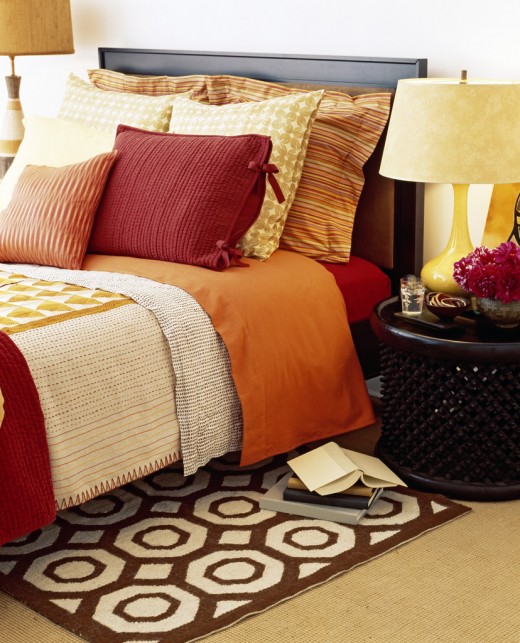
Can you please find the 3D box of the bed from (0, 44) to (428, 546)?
[{"bbox_3d":[0.083,-0.323,2.669,1.876,0.955,1.644,7,36,14],"label":"bed"}]

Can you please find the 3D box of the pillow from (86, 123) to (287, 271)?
[{"bbox_3d":[-0.225,-0.385,1.927,0.568,0.328,0.226,10,15,25],"label":"pillow"}]

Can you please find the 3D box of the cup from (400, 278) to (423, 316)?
[{"bbox_3d":[0.423,-0.068,1.676,0.086,0.108,0.083,-4,22,1],"label":"cup"}]

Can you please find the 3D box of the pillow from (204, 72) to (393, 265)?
[{"bbox_3d":[0.204,-0.542,2.036,0.755,0.614,0.170,8,0,22],"label":"pillow"}]

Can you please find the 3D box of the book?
[{"bbox_3d":[0.183,0.425,1.556,0.232,0.063,0.233,10,22,24],"label":"book"}]

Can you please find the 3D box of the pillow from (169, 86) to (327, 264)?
[{"bbox_3d":[0.085,-0.463,2.209,0.706,0.579,0.209,10,-4,34],"label":"pillow"}]
